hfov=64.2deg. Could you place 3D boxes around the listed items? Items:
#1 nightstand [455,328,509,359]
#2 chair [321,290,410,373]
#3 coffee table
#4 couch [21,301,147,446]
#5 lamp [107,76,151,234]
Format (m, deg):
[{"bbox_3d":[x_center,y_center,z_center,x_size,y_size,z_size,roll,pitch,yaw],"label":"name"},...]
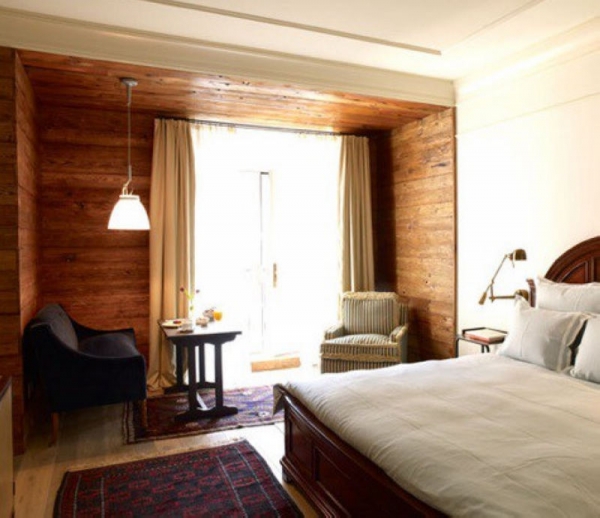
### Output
[{"bbox_3d":[1.567,0.650,3.981,0.250,0.269,0.246,-5,7,-32],"label":"nightstand"},{"bbox_3d":[0.661,0.760,4.816,0.675,0.994,0.776,-2,-16,12],"label":"chair"},{"bbox_3d":[-0.926,0.905,4.184,0.377,0.481,0.691,19,-19,-33],"label":"coffee table"},{"bbox_3d":[-1.659,0.720,3.834,0.758,0.674,1.150,-3,4,-26],"label":"couch"},{"bbox_3d":[-1.544,-0.844,4.265,0.380,1.272,0.998,-5,8,-21],"label":"lamp"}]
